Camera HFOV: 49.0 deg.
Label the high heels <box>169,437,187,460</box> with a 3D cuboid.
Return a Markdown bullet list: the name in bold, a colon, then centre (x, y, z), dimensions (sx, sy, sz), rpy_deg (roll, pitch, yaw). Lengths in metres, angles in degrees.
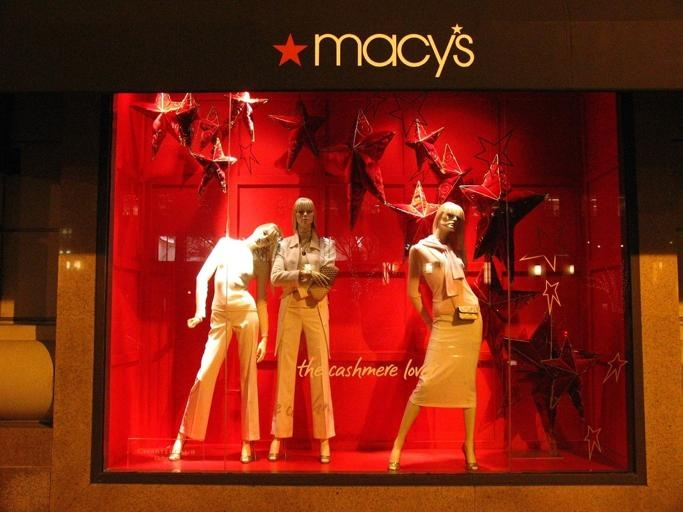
- **high heels**: centre (-1.150, 1.363, 5.266), dimensions (0.059, 0.197, 0.071), rpy_deg (7, -7, -20)

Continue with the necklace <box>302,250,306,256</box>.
- **necklace**: centre (-0.269, -0.021, 5.381), dimensions (0.033, 0.027, 0.010), rpy_deg (40, -12, 4)

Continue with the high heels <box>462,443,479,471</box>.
- **high heels**: centre (0.902, 1.422, 5.263), dimensions (0.128, 0.177, 0.085), rpy_deg (2, -6, 17)
